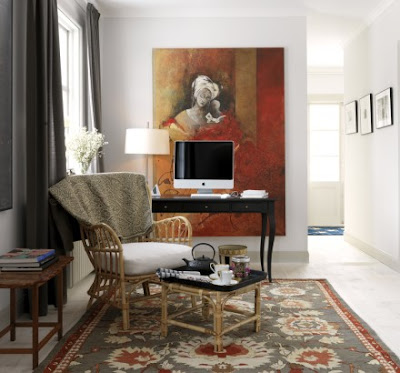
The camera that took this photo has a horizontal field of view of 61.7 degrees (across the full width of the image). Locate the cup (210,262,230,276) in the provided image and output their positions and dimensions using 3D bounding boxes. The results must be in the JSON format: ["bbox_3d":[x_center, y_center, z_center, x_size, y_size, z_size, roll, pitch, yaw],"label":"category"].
[{"bbox_3d":[0.117,0.491,2.028,0.100,0.067,0.068,-2,-3,37],"label":"cup"}]

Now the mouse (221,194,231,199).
[{"bbox_3d":[0.257,0.094,3.451,0.110,0.042,0.036,2,3,-21],"label":"mouse"}]

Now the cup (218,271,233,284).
[{"bbox_3d":[0.143,0.498,1.874,0.070,0.078,0.095,0,-1,1],"label":"cup"}]

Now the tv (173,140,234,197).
[{"bbox_3d":[0.041,-0.209,3.553,0.652,0.559,0.128,0,-4,0],"label":"tv"}]

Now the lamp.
[{"bbox_3d":[-0.574,-0.439,3.704,0.371,0.546,0.365,2,5,4],"label":"lamp"}]

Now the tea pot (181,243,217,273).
[{"bbox_3d":[0.004,0.453,2.135,0.215,0.185,0.184,-3,-4,5],"label":"tea pot"}]

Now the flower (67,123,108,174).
[{"bbox_3d":[-1.066,-0.325,3.115,0.369,0.368,0.335,-7,-16,-2],"label":"flower"}]

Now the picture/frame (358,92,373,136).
[{"bbox_3d":[2.209,-0.962,4.482,0.098,0.534,0.501,-1,-1,18],"label":"picture/frame"}]

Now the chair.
[{"bbox_3d":[-0.487,0.459,2.587,0.716,0.932,0.840,-4,-4,40],"label":"chair"}]

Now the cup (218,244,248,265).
[{"bbox_3d":[0.301,0.620,3.230,0.249,0.252,0.240,0,-2,0],"label":"cup"}]
